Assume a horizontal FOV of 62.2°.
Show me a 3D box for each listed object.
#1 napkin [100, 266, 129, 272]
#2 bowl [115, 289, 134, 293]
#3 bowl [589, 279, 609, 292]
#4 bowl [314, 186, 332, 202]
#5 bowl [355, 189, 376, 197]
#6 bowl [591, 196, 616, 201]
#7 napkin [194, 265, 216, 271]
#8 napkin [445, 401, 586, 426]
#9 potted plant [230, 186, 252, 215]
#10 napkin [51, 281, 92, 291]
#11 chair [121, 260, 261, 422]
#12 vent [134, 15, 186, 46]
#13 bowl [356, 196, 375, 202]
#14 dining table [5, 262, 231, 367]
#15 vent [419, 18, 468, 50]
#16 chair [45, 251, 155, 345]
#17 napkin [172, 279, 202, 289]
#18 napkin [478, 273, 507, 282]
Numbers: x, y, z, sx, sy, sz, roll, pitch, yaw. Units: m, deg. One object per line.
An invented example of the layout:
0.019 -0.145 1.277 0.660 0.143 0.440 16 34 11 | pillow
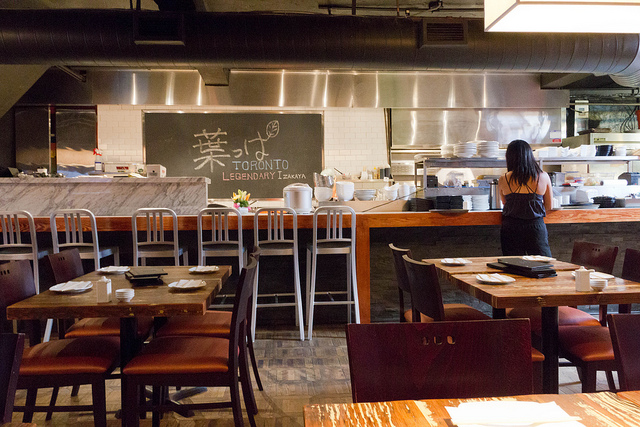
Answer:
-1.779 0.486 4.581 0.232 0.026 0.107 -2 5 -8 | napkin
-1.453 0.575 3.952 0.118 0.025 0.144 -3 5 -24 | bowl
2.100 0.543 3.998 0.107 0.057 0.104 -2 -2 0 | bowl
0.050 -0.238 6.471 0.207 0.187 0.194 -2 5 0 | bowl
0.574 -0.257 6.625 0.226 0.075 0.085 -1 5 1 | bowl
3.365 -0.177 6.287 0.089 0.051 0.245 -6 6 -40 | bowl
-0.987 0.478 4.572 0.166 0.025 0.116 -1 5 0 | napkin
1.110 1.156 3.030 0.745 0.099 0.118 -1 5 1 | napkin
-0.949 -0.153 6.391 0.206 0.183 0.183 -3 4 20 | potted plant
-1.938 0.569 4.135 0.276 0.040 0.188 -2 5 -13 | napkin
-1.153 1.055 4.764 1.412 1.662 1.241 3 -2 -2 | chair
-1.849 -2.127 6.136 0.559 0.329 0.136 -2 6 -3 | vent
0.577 -0.186 6.715 0.189 0.074 0.149 -1 5 2 | bowl
-1.486 0.621 4.153 1.131 0.598 1.057 -1 4 4 | dining table
1.519 -2.210 6.500 0.561 0.280 0.281 0 10 3 | vent
-1.961 0.681 4.578 0.561 0.709 0.443 -2 7 -7 | chair
-1.030 0.556 4.185 0.193 0.048 0.215 -1 5 5 | napkin
1.371 0.514 4.221 0.193 0.044 0.160 -2 5 -3 | napkin
